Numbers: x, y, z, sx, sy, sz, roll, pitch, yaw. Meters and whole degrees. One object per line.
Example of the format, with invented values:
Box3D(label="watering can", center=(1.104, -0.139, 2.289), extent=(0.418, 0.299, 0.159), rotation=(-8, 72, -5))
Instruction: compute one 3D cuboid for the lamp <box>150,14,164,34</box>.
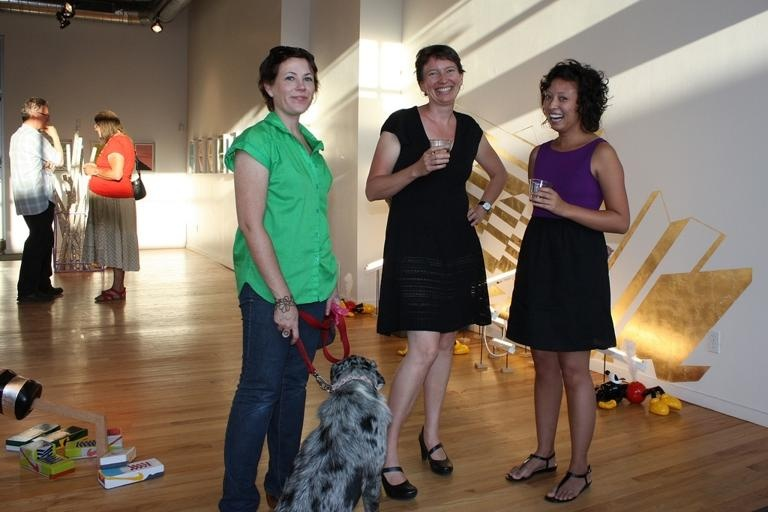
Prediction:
Box3D(label="lamp", center=(-5.219, -5.290, 10.927), extent=(0.173, 0.343, 0.749), rotation=(-1, 7, -27))

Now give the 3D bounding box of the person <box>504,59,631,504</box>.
Box3D(label="person", center=(0.946, 0.126, 2.488), extent=(0.554, 2.271, 0.435), rotation=(4, 6, 27))

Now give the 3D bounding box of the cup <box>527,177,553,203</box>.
Box3D(label="cup", center=(0.749, -0.323, 2.333), extent=(0.104, 0.096, 0.105), rotation=(17, -1, 0))

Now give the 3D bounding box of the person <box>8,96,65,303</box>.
Box3D(label="person", center=(-4.615, -0.719, 6.347), extent=(0.557, 2.665, 0.797), rotation=(-3, 7, -37))

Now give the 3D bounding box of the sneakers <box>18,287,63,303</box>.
Box3D(label="sneakers", center=(-4.699, 0.551, 6.525), extent=(0.476, 0.196, 0.163), rotation=(-7, 13, -26))

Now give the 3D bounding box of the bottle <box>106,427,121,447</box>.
Box3D(label="bottle", center=(-1.655, 1.100, 2.909), extent=(0.082, 0.053, 0.083), rotation=(-1, 3, 0))

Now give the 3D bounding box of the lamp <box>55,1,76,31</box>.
Box3D(label="lamp", center=(-6.743, -5.130, 10.031), extent=(0.273, 0.582, 0.596), rotation=(-3, 7, -38))

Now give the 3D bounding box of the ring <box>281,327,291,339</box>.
Box3D(label="ring", center=(-0.406, 0.321, 1.969), extent=(0.025, 0.024, 0.058), rotation=(4, 7, 0))

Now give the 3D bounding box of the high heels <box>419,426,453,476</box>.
Box3D(label="high heels", center=(0.295, 1.141, 2.794), extent=(0.108, 0.176, 0.320), rotation=(-1, 2, -26))

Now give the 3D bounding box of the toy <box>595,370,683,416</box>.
Box3D(label="toy", center=(1.906, 1.039, 3.578), extent=(0.495, 0.231, 0.349), rotation=(2, 2, 21))

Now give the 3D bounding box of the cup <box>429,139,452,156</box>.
Box3D(label="cup", center=(0.274, -0.511, 2.266), extent=(0.084, 0.061, 0.078), rotation=(0, 7, 0))

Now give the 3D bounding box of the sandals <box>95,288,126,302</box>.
Box3D(label="sandals", center=(-3.804, 0.551, 6.640), extent=(0.388, 0.167, 0.198), rotation=(4, -2, -35))

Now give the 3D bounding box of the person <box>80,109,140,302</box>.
Box3D(label="person", center=(-3.834, -0.688, 6.662), extent=(0.662, 2.574, 0.936), rotation=(-2, 7, -33))

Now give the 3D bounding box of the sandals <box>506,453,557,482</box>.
Box3D(label="sandals", center=(0.844, 1.192, 2.738), extent=(0.293, 0.119, 0.122), rotation=(-8, 6, -17))

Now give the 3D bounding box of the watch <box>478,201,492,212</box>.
Box3D(label="watch", center=(0.580, -0.285, 2.727), extent=(0.042, 0.064, 0.061), rotation=(-34, -15, -27))

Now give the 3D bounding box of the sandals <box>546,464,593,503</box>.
Box3D(label="sandals", center=(0.990, 1.209, 2.502), extent=(0.281, 0.123, 0.119), rotation=(-17, 10, -31))

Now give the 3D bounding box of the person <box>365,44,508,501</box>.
Box3D(label="person", center=(0.306, 0.069, 2.589), extent=(0.717, 2.345, 0.480), rotation=(-2, 7, -33))
